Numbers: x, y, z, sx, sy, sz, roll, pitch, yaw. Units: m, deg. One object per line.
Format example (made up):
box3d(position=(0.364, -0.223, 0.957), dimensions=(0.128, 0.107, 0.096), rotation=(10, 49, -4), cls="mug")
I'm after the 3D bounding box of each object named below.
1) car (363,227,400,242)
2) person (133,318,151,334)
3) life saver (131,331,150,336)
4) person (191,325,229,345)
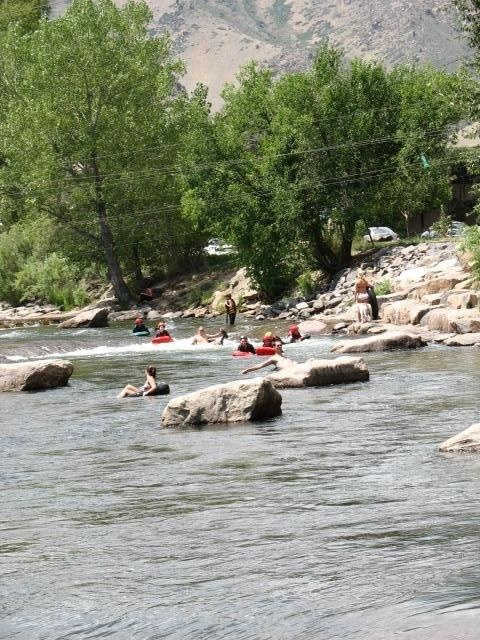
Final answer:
box3d(position=(11.155, -6.856, 63.631), dimensions=(1.953, 1.008, 3.895), rotation=(-11, 2, 14), cls="car")
box3d(position=(-4.695, 0.278, 38.874), dimensions=(0.837, 0.786, 0.764), rotation=(-9, -2, -14), cls="person")
box3d(position=(-4.229, 0.614, 34.916), dimensions=(0.702, 0.246, 0.697), rotation=(-12, 2, -14), cls="life saver")
box3d(position=(-1.196, 0.554, 29.939), dimensions=(0.778, 0.502, 0.951), rotation=(-3, -1, -28), cls="person")
